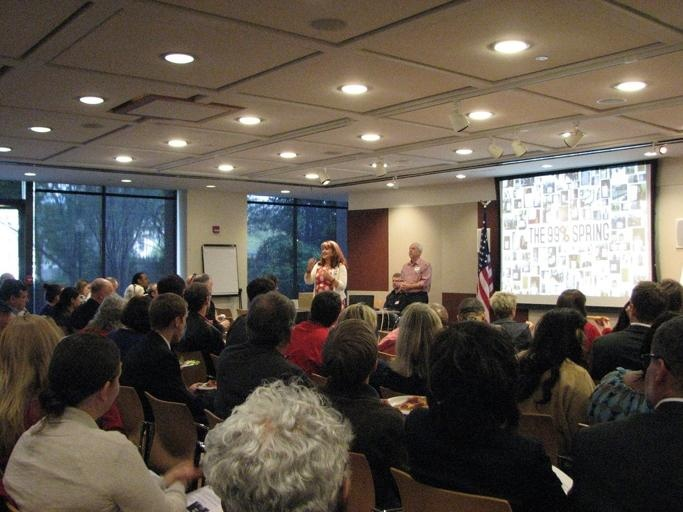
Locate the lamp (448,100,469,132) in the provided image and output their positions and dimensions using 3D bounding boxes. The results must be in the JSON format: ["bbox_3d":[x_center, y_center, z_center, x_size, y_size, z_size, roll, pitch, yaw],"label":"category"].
[{"bbox_3d":[1.174,-1.426,5.121,0.190,0.373,0.147,-16,-27,14],"label":"lamp"}]

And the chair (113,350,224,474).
[{"bbox_3d":[-1.192,1.043,3.372,0.579,0.690,0.542,1,-1,-19],"label":"chair"}]

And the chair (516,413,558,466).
[{"bbox_3d":[1.138,1.049,2.932,0.203,0.324,0.257,1,-1,25],"label":"chair"}]
